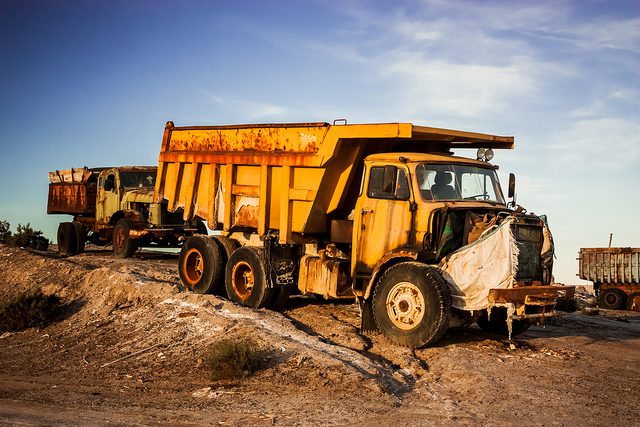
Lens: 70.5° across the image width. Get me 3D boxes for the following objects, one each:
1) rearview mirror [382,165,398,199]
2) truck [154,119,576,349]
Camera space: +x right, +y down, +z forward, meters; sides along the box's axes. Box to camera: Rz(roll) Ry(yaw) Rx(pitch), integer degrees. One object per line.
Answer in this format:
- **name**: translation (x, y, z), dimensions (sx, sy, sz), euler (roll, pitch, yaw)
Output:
- **rearview mirror**: translation (1.530, -0.705, 9.919), dimensions (0.313, 0.690, 0.182), euler (1, 5, 11)
- **truck**: translation (0.165, 0.199, 12.688), dimensions (5.439, 5.255, 10.720), euler (1, -1, -44)
